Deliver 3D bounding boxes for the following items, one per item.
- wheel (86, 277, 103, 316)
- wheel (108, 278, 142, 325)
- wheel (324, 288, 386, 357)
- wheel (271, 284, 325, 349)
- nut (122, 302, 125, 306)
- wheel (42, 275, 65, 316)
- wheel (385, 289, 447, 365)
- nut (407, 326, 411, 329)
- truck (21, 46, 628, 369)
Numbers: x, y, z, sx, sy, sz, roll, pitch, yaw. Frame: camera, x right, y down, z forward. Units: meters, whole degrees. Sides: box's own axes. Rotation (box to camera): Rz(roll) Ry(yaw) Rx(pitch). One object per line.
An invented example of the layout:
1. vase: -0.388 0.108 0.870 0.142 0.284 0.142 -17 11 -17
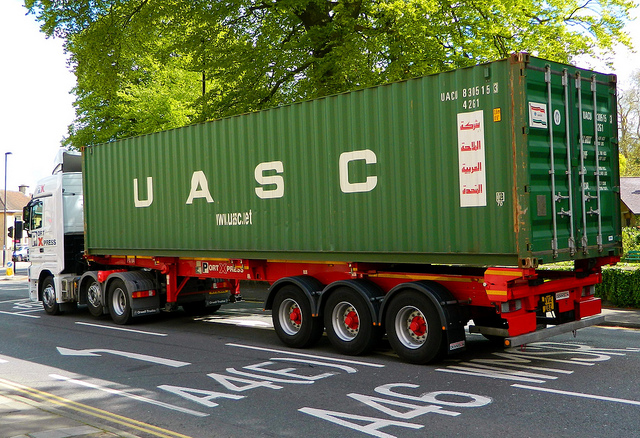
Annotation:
1. wheel: -6.462 2.215 15.538 0.186 1.115 0.848 -5 5 -41
2. wheel: -5.251 2.186 14.587 0.314 1.047 0.965 5 12 -43
3. wheel: 0.721 2.033 10.807 1.107 1.205 0.393 -12 -11 39
4. wheel: -0.444 2.041 11.545 1.190 1.391 0.413 -7 -6 41
5. nut: -5.361 2.308 14.757 0.087 0.069 0.052 1 0 43
6. wheel: -8.136 2.287 16.524 0.423 1.412 1.134 0 -4 -40
7. wheel: 1.833 1.988 10.066 1.220 1.426 0.434 -7 -9 42
8. nut: 1.687 2.069 10.305 0.037 0.037 0.071 1 1 -40
9. truck: -1.064 0.159 15.022 15.006 5.733 4.433 -2 -2 41
